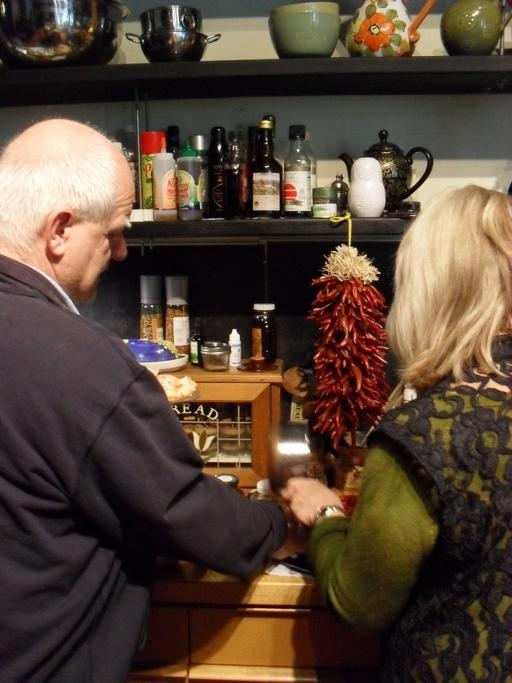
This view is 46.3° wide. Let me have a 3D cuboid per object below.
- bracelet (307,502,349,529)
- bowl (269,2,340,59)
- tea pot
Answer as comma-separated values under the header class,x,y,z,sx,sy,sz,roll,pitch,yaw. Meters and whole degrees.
class,x,y,z,sx,sy,sz,roll,pitch,yaw
bracelet,0.132,0.298,1.018,0.044,0.038,0.040,0,51,2
bowl,0.116,-0.760,1.545,0.164,0.102,0.152,-1,7,0
tea pot,0.370,-0.461,1.591,0.299,0.230,0.169,2,10,8
